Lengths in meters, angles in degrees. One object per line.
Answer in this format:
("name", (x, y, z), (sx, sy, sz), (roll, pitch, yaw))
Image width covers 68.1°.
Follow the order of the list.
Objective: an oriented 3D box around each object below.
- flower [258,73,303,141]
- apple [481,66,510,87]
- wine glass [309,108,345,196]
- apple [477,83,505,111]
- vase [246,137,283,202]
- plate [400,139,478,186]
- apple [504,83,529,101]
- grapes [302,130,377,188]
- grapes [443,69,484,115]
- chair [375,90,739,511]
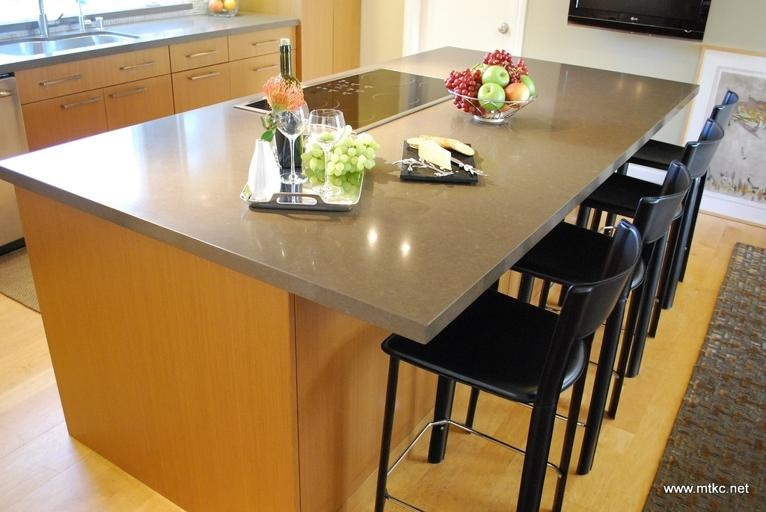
("flower", (-0.337, -0.490, 1.922), (0.139, 0.226, 0.259), (-1, 27, -10))
("apple", (0.504, -0.812, 2.549), (0.103, 0.100, 0.101), (4, 71, -2))
("wine glass", (-0.191, -0.361, 1.961), (0.125, 0.249, 0.235), (0, 27, -8))
("apple", (0.485, -0.705, 2.584), (0.116, 0.119, 0.114), (-8, 55, 9))
("vase", (-0.395, -0.294, 1.872), (0.111, 0.195, 0.124), (-1, 27, -11))
("plate", (0.207, -0.329, 2.091), (0.192, 0.026, 0.192), (12, 39, 11))
("apple", (0.605, -0.743, 2.610), (0.087, 0.089, 0.087), (25, 23, 31))
("grapes", (-0.145, -0.332, 2.024), (0.256, 0.130, 0.164), (-23, 41, -5))
("grapes", (0.364, -0.780, 2.614), (0.191, 0.147, 0.203), (-17, 47, -18))
("chair", (0.672, 0.209, 2.281), (0.469, 0.882, 1.723), (20, 42, 28))
